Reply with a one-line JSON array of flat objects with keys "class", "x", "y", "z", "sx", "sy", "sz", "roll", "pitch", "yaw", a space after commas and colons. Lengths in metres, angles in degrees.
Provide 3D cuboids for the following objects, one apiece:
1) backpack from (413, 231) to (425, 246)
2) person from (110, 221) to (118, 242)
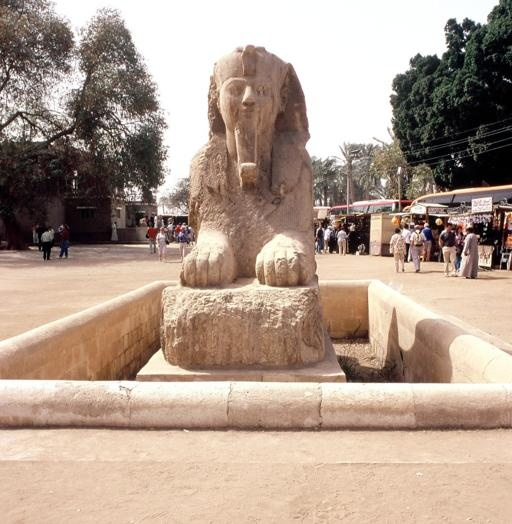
[{"class": "backpack", "x": 4.291, "y": -0.622, "z": 15.610, "sx": 0.274, "sy": 0.384, "sz": 0.175, "roll": -3, "pitch": 11, "yaw": -17}, {"class": "person", "x": -7.666, "y": -1.660, "z": 31.971, "sx": 0.328, "sy": 1.103, "sz": 1.035, "roll": 2, "pitch": 3, "yaw": 4}]
